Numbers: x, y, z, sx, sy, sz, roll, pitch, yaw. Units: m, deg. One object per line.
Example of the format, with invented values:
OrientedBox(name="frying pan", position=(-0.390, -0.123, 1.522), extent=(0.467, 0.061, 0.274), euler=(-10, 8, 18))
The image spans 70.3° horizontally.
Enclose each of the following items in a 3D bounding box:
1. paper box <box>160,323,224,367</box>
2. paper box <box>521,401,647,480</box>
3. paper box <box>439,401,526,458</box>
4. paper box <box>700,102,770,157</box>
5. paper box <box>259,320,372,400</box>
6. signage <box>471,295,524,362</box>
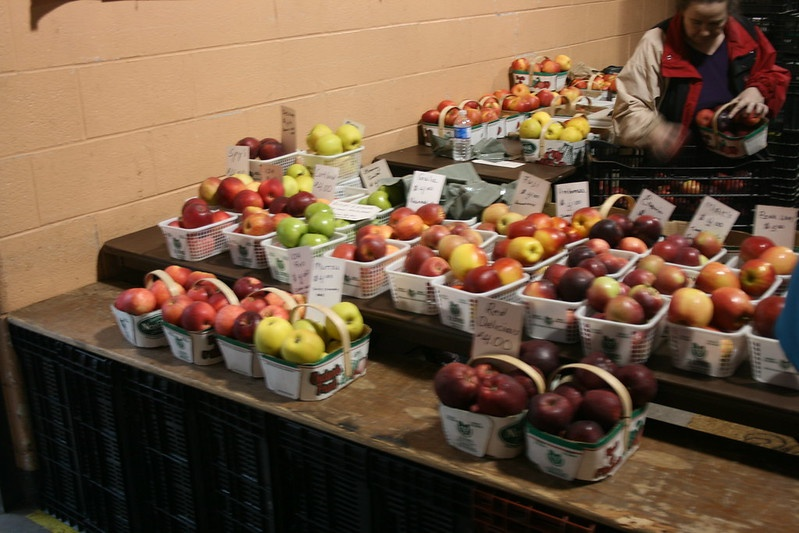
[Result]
OrientedBox(name="paper box", position=(-0.804, 0.306, 2.336), extent=(0.299, 0.113, 0.186), euler=(10, 24, 24))
OrientedBox(name="paper box", position=(0.573, 0.533, 1.808), extent=(0.294, 0.087, 0.377), euler=(7, 15, 44))
OrientedBox(name="paper box", position=(0.254, 0.515, 1.836), extent=(0.295, 0.092, 0.180), euler=(4, 11, 24))
OrientedBox(name="paper box", position=(1.912, -0.794, 3.252), extent=(0.256, 0.227, 0.306), euler=(-31, 43, 4))
OrientedBox(name="paper box", position=(-0.323, 0.376, 2.199), extent=(0.303, 0.098, 0.377), euler=(7, 16, 36))
OrientedBox(name="signage", position=(0.320, 0.211, 1.888), extent=(0.170, 0.205, 0.085), euler=(10, 27, 23))
